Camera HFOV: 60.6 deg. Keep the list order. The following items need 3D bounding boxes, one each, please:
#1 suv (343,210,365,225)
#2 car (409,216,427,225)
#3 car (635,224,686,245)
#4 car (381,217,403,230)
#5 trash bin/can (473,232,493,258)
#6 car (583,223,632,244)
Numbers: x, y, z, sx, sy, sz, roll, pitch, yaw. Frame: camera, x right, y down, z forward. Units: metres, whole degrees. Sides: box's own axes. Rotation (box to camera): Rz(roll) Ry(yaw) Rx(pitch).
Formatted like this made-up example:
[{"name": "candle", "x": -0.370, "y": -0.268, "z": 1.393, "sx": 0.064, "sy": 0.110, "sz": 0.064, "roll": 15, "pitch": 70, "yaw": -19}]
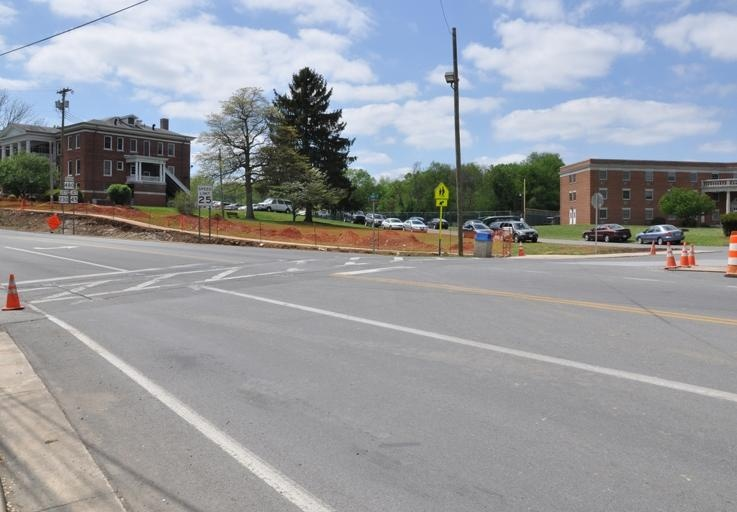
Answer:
[{"name": "suv", "x": -1.361, "y": -4.789, "z": 76.952, "sx": 1.597, "sy": 1.191, "sz": 3.326, "roll": -1, "pitch": 2, "yaw": -20}, {"name": "car", "x": 4.913, "y": -3.756, "z": 63.203, "sx": 1.760, "sy": 0.789, "sz": 2.605, "roll": 2, "pitch": 6, "yaw": -1}, {"name": "car", "x": 19.437, "y": -1.261, "z": 41.431, "sx": 1.746, "sy": 1.378, "sz": 3.394, "roll": -2, "pitch": 12, "yaw": -5}, {"name": "car", "x": 2.372, "y": -3.249, "z": 63.057, "sx": 1.028, "sy": 0.745, "sz": 2.231, "roll": -1, "pitch": 1, "yaw": -20}, {"name": "trash bin/can", "x": 5.685, "y": -0.569, "z": 30.606, "sx": 1.101, "sy": 1.681, "sz": 1.184, "roll": 0, "pitch": 1, "yaw": 18}, {"name": "car", "x": 18.477, "y": -1.858, "z": 48.990, "sx": 2.891, "sy": 1.738, "sz": 4.851, "roll": 1, "pitch": 12, "yaw": 13}]
